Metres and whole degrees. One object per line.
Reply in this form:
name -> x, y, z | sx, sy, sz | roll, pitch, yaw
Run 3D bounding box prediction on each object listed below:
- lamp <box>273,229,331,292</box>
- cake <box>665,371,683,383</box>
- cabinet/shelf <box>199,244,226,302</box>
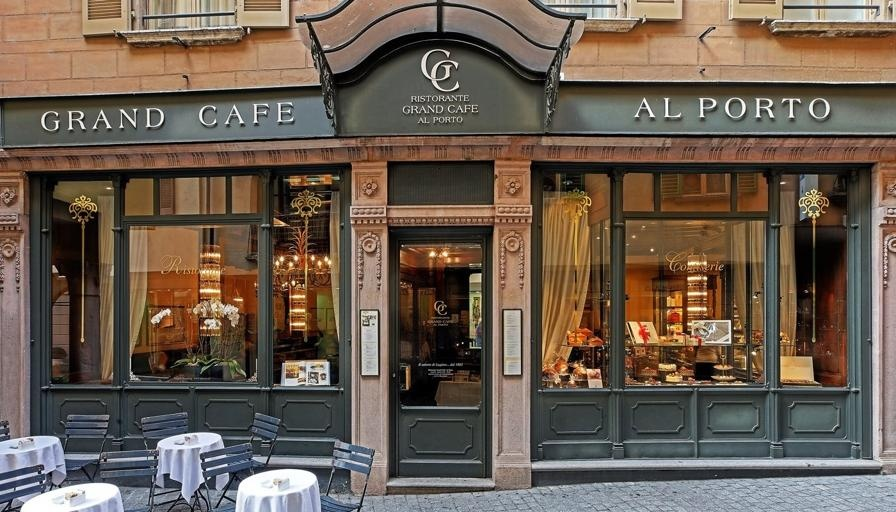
lamp -> -2.977, 0.135, 25.137 | 1.412, 1.026, 1.295 | 1, 1, 3
cake -> 4.661, 2.511, 24.459 | 0.361, 0.198, 0.062 | -1, -6, 6
cabinet/shelf -> -4.982, 0.368, 24.703 | 0.488, 1.184, 0.188 | 0, -6, -4
